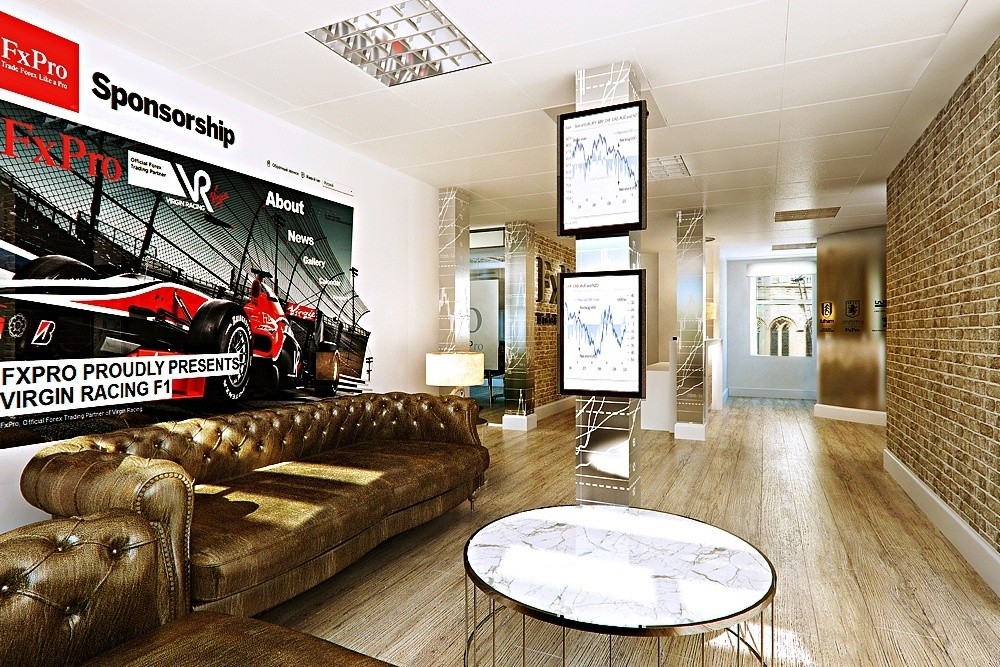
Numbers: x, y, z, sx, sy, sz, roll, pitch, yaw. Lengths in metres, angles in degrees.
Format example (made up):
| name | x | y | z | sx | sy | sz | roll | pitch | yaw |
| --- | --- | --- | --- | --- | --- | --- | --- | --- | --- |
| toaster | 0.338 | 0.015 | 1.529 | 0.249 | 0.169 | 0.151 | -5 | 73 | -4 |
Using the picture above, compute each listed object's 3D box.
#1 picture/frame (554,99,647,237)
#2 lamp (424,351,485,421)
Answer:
| name | x | y | z | sx | sy | sz | roll | pitch | yaw |
| --- | --- | --- | --- | --- | --- | --- | --- | --- | --- |
| picture/frame | 0.768 | -1.260 | 4.385 | 0.937 | 1.341 | 0.135 | -3 | -6 | 29 |
| lamp | -0.475 | 0.540 | 6.323 | 0.620 | 0.732 | 0.637 | 0 | 3 | -10 |
